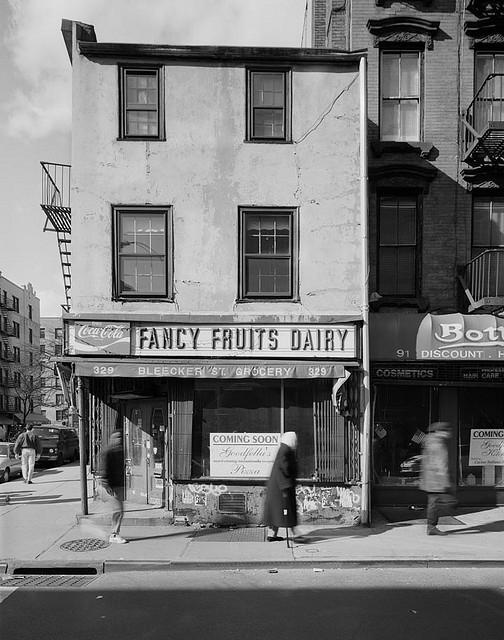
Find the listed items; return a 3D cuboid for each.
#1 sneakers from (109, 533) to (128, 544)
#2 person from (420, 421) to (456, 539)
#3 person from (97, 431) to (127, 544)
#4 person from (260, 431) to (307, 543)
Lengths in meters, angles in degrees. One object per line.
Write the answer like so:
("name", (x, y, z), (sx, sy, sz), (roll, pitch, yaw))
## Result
("sneakers", (-2.174, 3.612, 21.008), (0.314, 0.169, 0.127), (2, -7, 3))
("person", (3.084, 2.732, 21.414), (0.486, 1.853, 0.636), (0, 11, 8))
("person", (-2.264, 2.808, 21.005), (0.407, 1.803, 0.617), (-3, 11, -8))
("person", (0.477, 2.812, 20.884), (0.562, 1.797, 0.715), (0, 12, 7))
